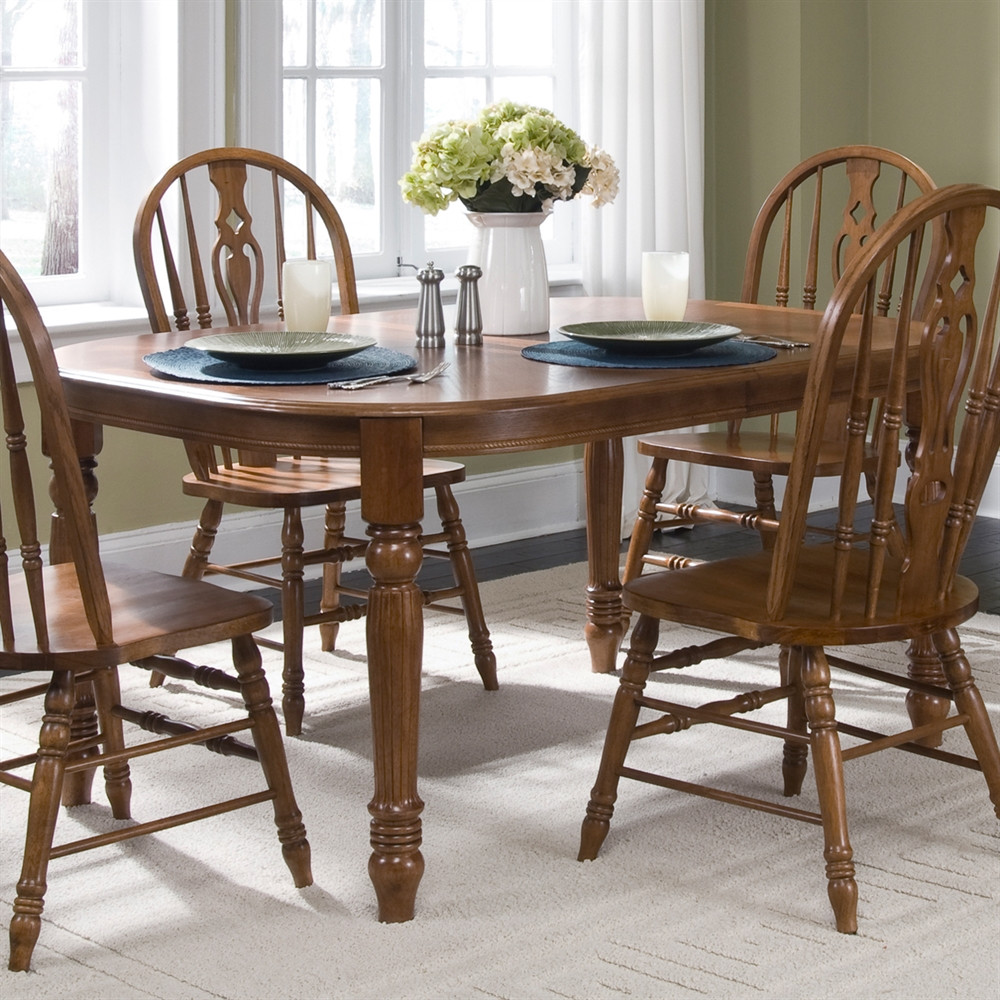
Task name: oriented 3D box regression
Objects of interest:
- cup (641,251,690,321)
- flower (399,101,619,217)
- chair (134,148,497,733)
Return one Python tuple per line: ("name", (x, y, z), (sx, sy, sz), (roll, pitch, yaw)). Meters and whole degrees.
("cup", (0.283, -0.375, 1.856), (0.125, 0.102, 0.116), (-2, 7, 0))
("flower", (0.029, -0.588, 1.899), (0.303, 0.180, 0.356), (-8, -1, 37))
("chair", (-0.360, -0.131, 2.159), (0.775, 1.078, 0.691), (10, 19, 17))
